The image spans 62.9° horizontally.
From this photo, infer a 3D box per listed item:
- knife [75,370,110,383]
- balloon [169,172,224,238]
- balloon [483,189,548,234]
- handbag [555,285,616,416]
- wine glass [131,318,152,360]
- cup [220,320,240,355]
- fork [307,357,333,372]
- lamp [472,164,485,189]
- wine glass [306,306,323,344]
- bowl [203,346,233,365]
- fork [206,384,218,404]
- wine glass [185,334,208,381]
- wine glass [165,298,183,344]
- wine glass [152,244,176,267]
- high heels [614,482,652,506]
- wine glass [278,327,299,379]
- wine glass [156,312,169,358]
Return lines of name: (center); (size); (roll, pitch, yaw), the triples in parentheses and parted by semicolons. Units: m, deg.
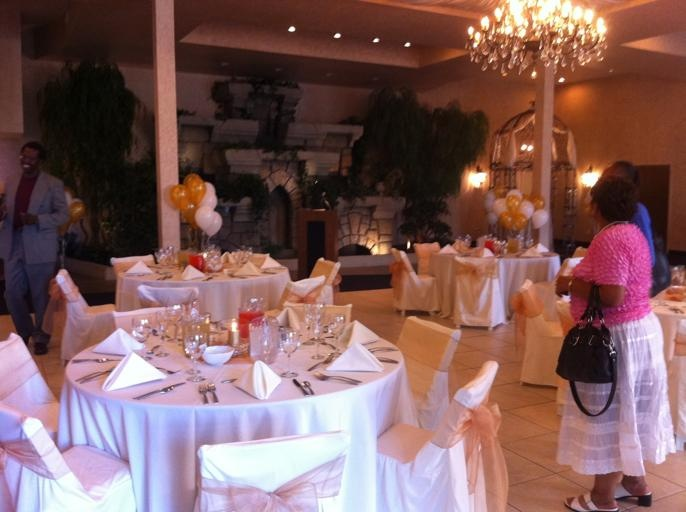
knife: (-1.400, 0.667, 3.142); (0.091, 0.035, 0.183); (8, 6, 41)
balloon: (-1.721, -0.609, 6.776); (0.671, 0.766, 0.537); (8, 6, 41)
balloon: (2.923, -0.740, 9.313); (1.038, 0.754, 1.142); (9, 7, 4)
handbag: (1.523, 0.587, 3.461); (0.299, 0.824, 0.291); (0, 5, -33)
wine glass: (-1.277, 0.497, 3.549); (0.134, 0.250, 0.129); (0, 9, -28)
cup: (-0.729, 0.518, 3.664); (0.157, 0.209, 0.172); (0, 5, 0)
fork: (-0.134, 0.630, 3.333); (0.042, 0.045, 0.346); (4, 6, 17)
lamp: (3.767, -2.232, 15.809); (0.435, 0.857, 0.578); (1, 8, 15)
wine glass: (-0.195, 0.434, 3.695); (0.104, 0.261, 0.232); (3, 4, -2)
bowl: (-0.739, 0.579, 3.324); (0.130, 0.060, 0.138); (1, 12, 0)
fork: (-0.682, 0.715, 2.935); (0.031, 0.028, 0.173); (-1, 13, -14)
wine glass: (-0.855, 0.543, 3.225); (0.112, 0.253, 0.318); (2, 5, -16)
wine glass: (-1.107, 0.429, 3.692); (0.092, 0.267, 0.401); (2, 5, -18)
wine glass: (-2.091, -0.017, 6.537); (0.230, 0.300, 0.236); (-2, 7, -29)
high heels: (1.899, 1.565, 3.716); (0.243, 0.105, 0.099); (7, 8, 36)
wine glass: (-0.309, 0.547, 3.223); (0.112, 0.260, 0.114); (-2, 4, -34)
wine glass: (-1.137, 0.440, 3.544); (0.065, 0.213, 0.169); (2, 5, -18)
